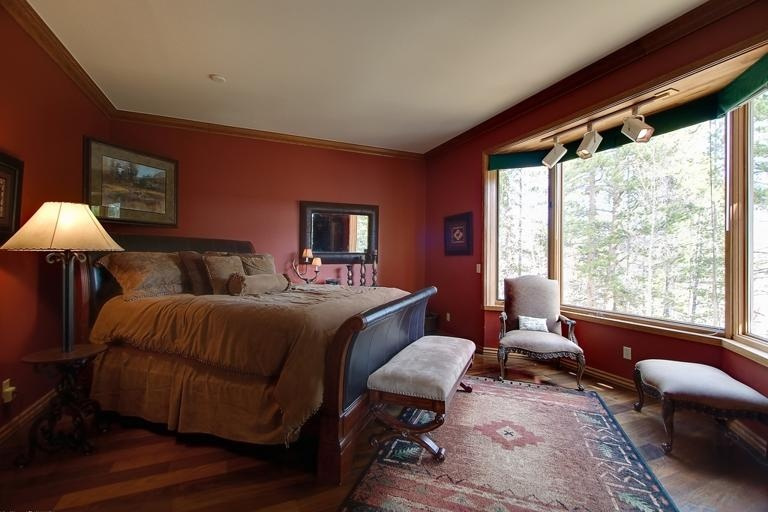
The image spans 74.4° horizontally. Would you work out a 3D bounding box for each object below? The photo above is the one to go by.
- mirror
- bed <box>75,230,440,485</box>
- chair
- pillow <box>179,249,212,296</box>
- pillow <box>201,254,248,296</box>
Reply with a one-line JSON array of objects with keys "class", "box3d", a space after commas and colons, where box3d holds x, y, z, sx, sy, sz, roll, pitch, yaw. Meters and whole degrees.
[{"class": "mirror", "box3d": [-0.764, -0.367, 7.722, 1.043, 0.754, 0.072, 1, -2, -27]}, {"class": "bed", "box3d": [-1.222, 1.066, 5.141, 2.295, 1.233, 1.839, -2, -2, 21]}, {"class": "chair", "box3d": [1.813, 0.833, 6.049, 0.921, 1.218, 1.014, 3, -1, 10]}, {"class": "pillow", "box3d": [-2.177, 0.203, 5.945, 0.168, 0.440, 0.450, -27, -10, 7]}, {"class": "pillow", "box3d": [-1.842, 0.158, 5.789, 0.153, 0.464, 0.503, -26, -12, 20]}]
